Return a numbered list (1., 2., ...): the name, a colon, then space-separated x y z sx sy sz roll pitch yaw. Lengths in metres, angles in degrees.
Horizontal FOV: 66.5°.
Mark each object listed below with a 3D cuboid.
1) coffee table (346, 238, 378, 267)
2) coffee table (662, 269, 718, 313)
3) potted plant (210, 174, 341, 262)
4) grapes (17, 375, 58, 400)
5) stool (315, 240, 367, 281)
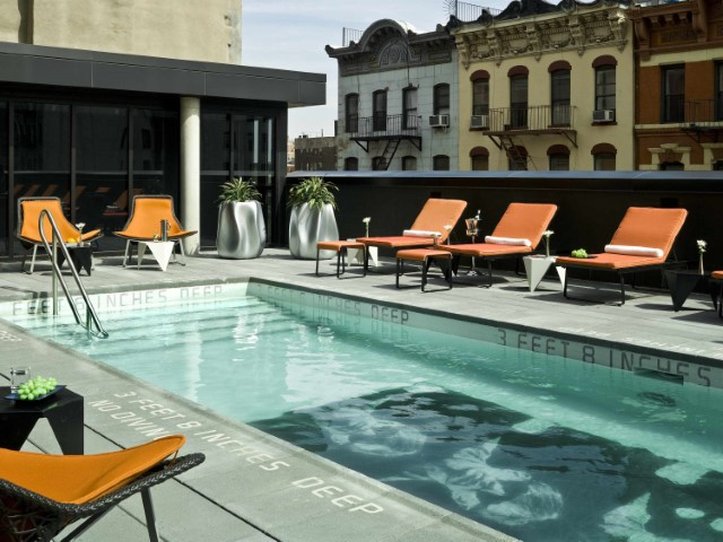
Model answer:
1. coffee table: 0.016 -0.320 9.654 0.606 0.507 0.550 0 4 8
2. coffee table: 3.895 0.184 6.497 0.590 0.367 0.559 3 7 32
3. potted plant: -1.652 -1.048 11.215 2.499 1.629 0.872 2 7 14
4. grapes: -1.502 0.535 2.502 0.105 0.040 0.149 2 6 1
5. stool: -0.403 -0.200 9.483 0.756 0.680 0.874 1 1 -35
